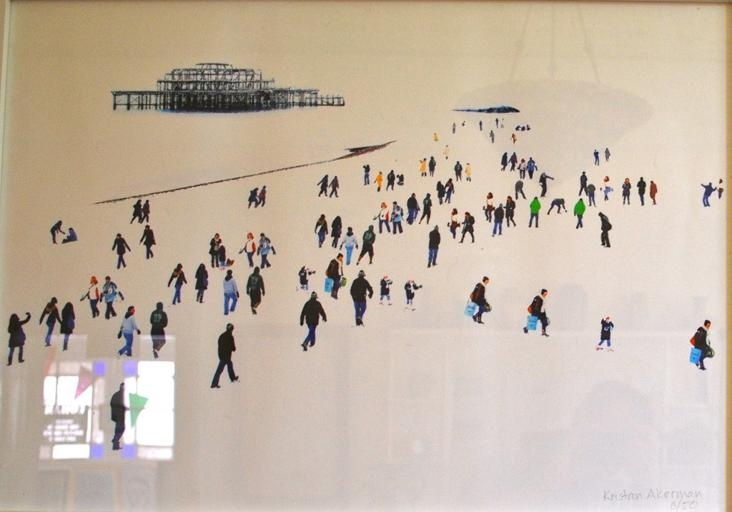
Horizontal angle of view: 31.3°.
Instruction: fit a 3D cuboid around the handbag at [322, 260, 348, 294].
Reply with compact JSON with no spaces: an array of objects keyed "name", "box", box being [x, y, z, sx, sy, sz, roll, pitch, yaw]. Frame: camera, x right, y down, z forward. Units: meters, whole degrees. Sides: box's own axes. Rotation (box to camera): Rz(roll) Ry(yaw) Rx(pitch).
[{"name":"handbag","box":[-0.140,0.094,6.257,0.103,0.183,0.028,0,-9,-8]}]
